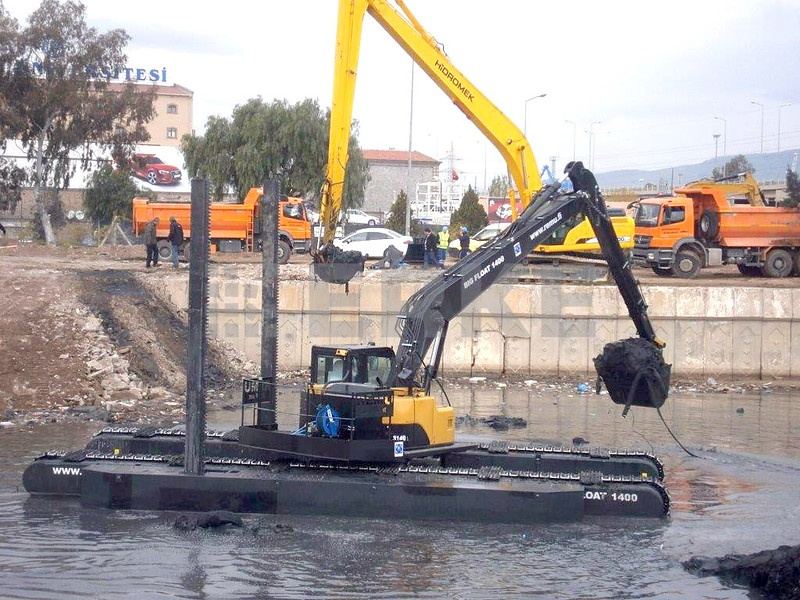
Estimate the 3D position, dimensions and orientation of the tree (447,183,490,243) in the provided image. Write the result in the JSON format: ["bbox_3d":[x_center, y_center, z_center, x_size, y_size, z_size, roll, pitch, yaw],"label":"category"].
[{"bbox_3d":[3.527,-4.361,77.683,1.456,1.450,2.137,-10,-40,12],"label":"tree"}]

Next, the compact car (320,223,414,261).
[{"bbox_3d":[-1.110,-2.257,66.384,2.611,1.053,1.379,2,2,-2],"label":"compact car"}]

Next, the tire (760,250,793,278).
[{"bbox_3d":[13.676,-1.357,61.277,0.857,0.953,0.316,-2,4,-6],"label":"tire"}]

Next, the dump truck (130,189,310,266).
[{"bbox_3d":[-6.354,-2.276,62.960,8.115,4.011,2.878,-1,7,-8],"label":"dump truck"}]
